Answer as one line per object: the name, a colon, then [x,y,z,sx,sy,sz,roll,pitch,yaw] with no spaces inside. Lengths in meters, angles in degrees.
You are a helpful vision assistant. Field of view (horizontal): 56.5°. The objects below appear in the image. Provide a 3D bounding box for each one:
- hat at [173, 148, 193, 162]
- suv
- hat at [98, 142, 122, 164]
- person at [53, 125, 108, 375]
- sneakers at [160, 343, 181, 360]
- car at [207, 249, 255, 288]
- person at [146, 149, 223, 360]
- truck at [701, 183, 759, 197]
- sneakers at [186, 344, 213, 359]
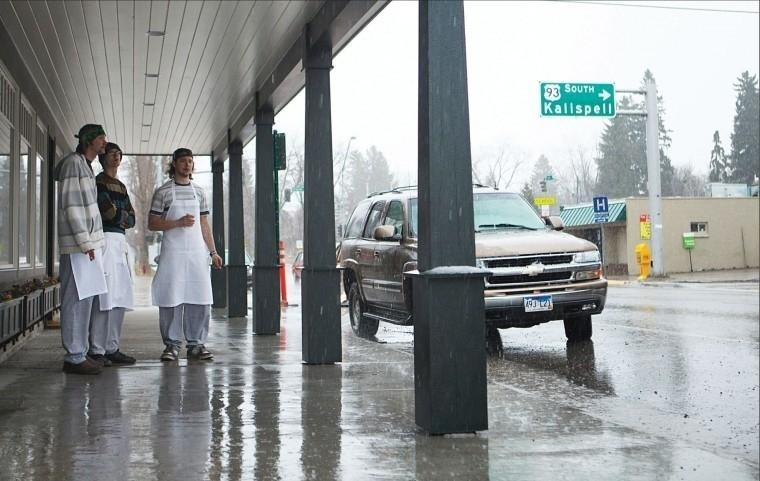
hat: [-2.813,-1.205,10.016,0.285,0.165,0.197,-2,3,-3]
suv: [1.055,0.433,12.605,2.515,2.154,4.711,0,-6,-27]
hat: [-3.670,-1.190,9.596,0.244,0.297,0.333,-1,-8,-32]
person: [-3.826,0.103,9.080,0.626,3.191,0.626,-2,3,-18]
sneakers: [-2.970,1.602,9.987,0.268,0.213,0.343,-2,3,-13]
car: [-5.540,1.079,28.335,1.539,1.631,2.721,1,-8,-21]
person: [-2.789,0.219,10.111,0.961,3.019,0.696,-3,3,-20]
truck: [21.875,-3.083,43.376,2.502,0.830,18.283,0,3,24]
sneakers: [-2.580,1.616,10.146,0.400,0.178,0.161,-2,-5,14]
